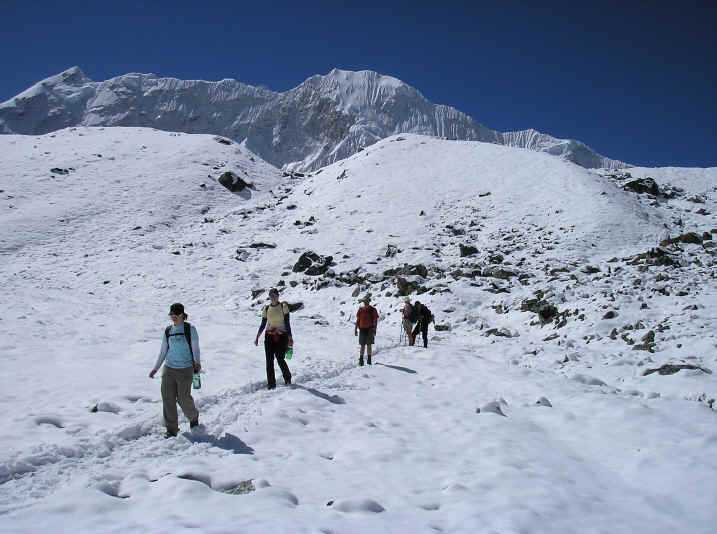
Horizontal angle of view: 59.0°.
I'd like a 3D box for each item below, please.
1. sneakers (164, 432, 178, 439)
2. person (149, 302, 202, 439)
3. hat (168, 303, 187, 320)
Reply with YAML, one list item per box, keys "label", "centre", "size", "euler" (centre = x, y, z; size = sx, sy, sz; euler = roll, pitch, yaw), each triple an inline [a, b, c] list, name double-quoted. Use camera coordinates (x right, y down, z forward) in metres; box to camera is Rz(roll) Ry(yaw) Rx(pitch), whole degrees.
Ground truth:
- label: "sneakers"
  centre: [-4.621, 4.170, 15.670]
  size: [0.238, 0.227, 0.141]
  euler: [-1, -17, 0]
- label: "person"
  centre: [-4.449, 2.541, 15.647]
  size: [1.063, 3.237, 1.131]
  euler: [10, 20, 31]
- label: "hat"
  centre: [-4.451, 1.077, 15.748]
  size: [0.464, 0.311, 0.568]
  euler: [-2, 19, -6]
